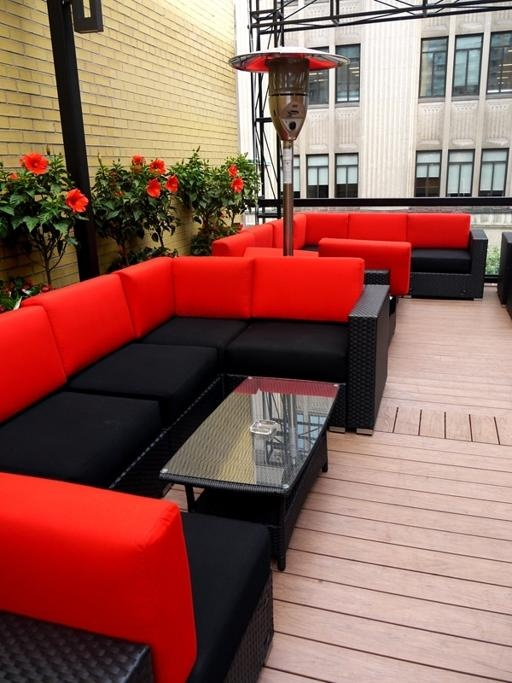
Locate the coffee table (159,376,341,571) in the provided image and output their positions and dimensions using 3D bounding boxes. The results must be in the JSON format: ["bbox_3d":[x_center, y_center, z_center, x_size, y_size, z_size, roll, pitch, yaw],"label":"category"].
[{"bbox_3d":[0.041,0.544,2.120,0.533,0.445,0.944,3,18,23],"label":"coffee table"}]

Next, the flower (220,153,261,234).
[{"bbox_3d":[-0.197,-1.767,5.575,0.410,0.846,0.918,4,10,2],"label":"flower"}]

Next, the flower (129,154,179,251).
[{"bbox_3d":[-0.903,-1.276,4.424,0.368,0.850,1.290,2,10,-9],"label":"flower"}]
